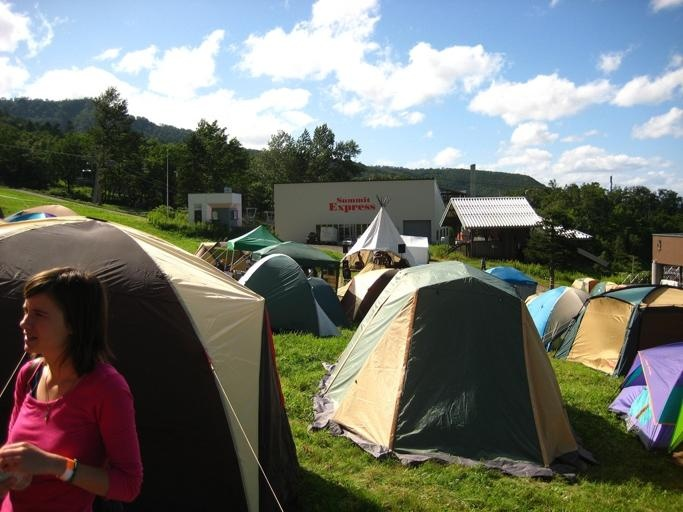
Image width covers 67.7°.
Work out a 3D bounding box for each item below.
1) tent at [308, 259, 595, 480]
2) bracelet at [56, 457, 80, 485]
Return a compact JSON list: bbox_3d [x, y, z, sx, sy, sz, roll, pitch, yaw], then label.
[{"bbox_3d":[1.590,1.196,7.170,3.448,2.168,3.804,4,2,-42],"label":"tent"},{"bbox_3d":[-1.410,1.108,2.630,0.083,0.139,0.057,-2,-18,6],"label":"bracelet"}]
